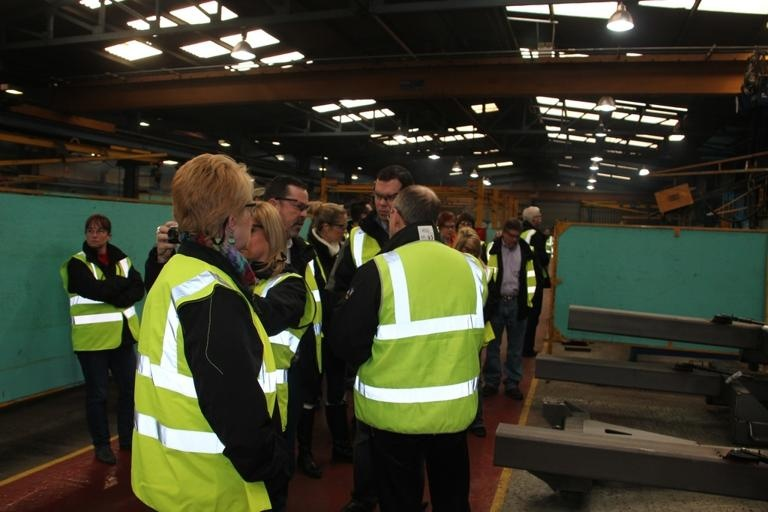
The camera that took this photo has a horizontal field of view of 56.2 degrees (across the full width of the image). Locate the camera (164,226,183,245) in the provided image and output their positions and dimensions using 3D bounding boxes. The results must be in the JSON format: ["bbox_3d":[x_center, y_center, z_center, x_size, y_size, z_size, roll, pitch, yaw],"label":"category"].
[{"bbox_3d":[-2.399,-0.238,8.225,0.161,0.169,0.099,8,15,16],"label":"camera"}]

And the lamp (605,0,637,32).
[{"bbox_3d":[4.132,-4.235,12.708,0.374,0.499,0.383,2,6,5],"label":"lamp"}]

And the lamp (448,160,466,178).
[{"bbox_3d":[2.985,-3.663,30.257,0.734,0.827,0.516,-1,12,-17],"label":"lamp"}]
